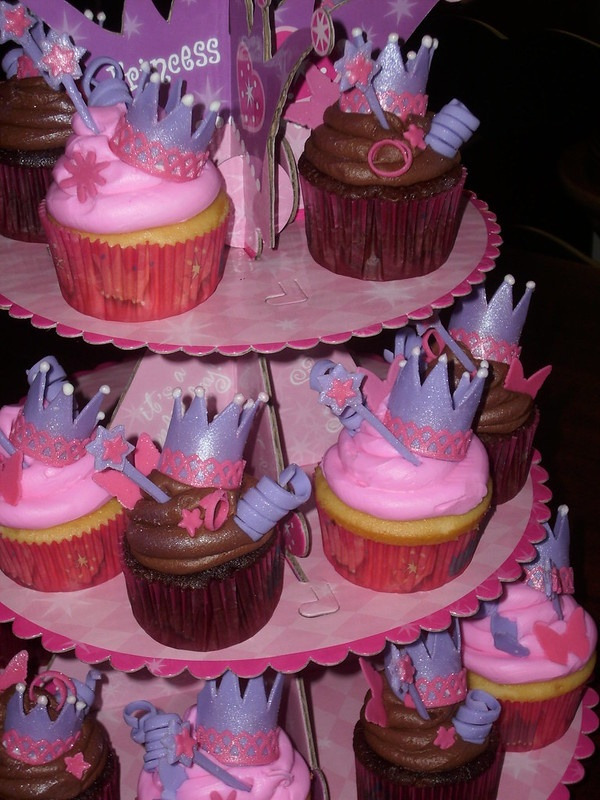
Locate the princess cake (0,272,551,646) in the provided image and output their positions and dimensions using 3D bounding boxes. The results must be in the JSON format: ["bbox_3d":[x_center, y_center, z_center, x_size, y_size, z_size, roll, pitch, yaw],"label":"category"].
[{"bbox_3d":[0.065,0.115,1.527,1.063,0.822,0.680,-6,47,-1],"label":"princess cake"}]
